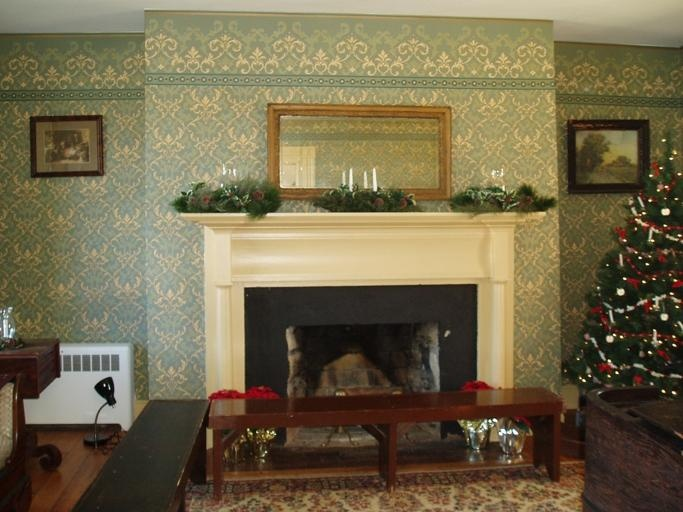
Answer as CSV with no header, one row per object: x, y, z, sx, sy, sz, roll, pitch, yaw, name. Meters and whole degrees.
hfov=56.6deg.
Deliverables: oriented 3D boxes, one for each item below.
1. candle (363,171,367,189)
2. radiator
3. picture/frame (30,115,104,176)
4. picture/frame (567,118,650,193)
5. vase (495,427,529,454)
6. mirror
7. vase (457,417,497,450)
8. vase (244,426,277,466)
0.188,-0.615,5.060,0.035,0.139,0.090,-1,2,1,candle
-2.085,1.110,5.449,0.841,0.698,0.283,-3,1,18,radiator
-2.407,-0.986,5.486,0.542,0.463,0.037,0,1,-5,picture/frame
2.379,-0.913,5.719,0.738,0.671,0.052,0,4,-3,picture/frame
1.316,1.422,5.006,0.221,0.236,0.215,-1,4,-26,vase
0.148,-0.843,5.107,1.471,0.772,0.066,-2,3,-3,mirror
1.075,1.404,5.009,0.295,0.199,0.293,0,-3,-5,vase
-0.647,1.468,4.984,0.227,0.242,0.225,-7,-13,15,vase
